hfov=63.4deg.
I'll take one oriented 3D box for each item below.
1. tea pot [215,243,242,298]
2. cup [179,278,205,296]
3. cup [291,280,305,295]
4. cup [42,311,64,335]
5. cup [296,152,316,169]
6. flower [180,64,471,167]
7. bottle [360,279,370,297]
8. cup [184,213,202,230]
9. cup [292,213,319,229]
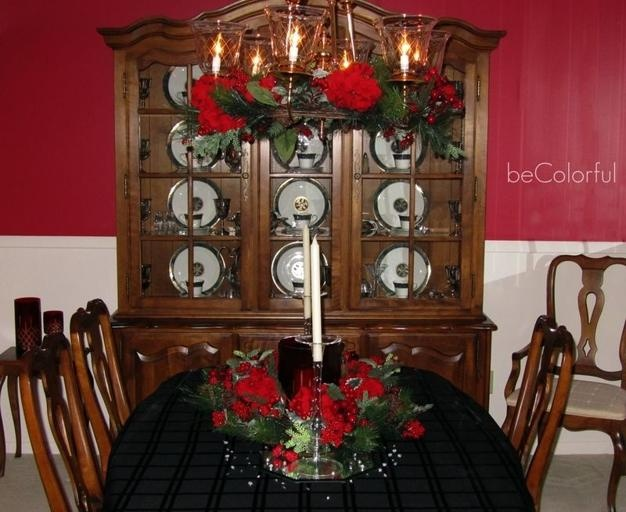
[{"bbox_3d":[-0.431,0.081,2.667,0.168,0.230,0.076,-9,2,22],"label":"tea pot"},{"bbox_3d":[-0.632,0.162,2.641,0.100,0.066,0.080,0,0,27],"label":"cup"},{"bbox_3d":[-0.085,0.165,2.669,0.079,0.075,0.076,-1,-4,0],"label":"cup"},{"bbox_3d":[-1.337,0.329,2.613,0.084,0.097,0.179,-2,6,-29],"label":"cup"},{"bbox_3d":[-0.033,-0.494,2.636,0.087,0.063,0.085,0,8,0],"label":"cup"},{"bbox_3d":[0.004,-0.355,1.211,0.687,0.240,0.325,2,5,17],"label":"flower"},{"bbox_3d":[0.273,0.169,2.657,0.053,0.074,0.066,2,-13,-17],"label":"bottle"},{"bbox_3d":[-0.612,-0.178,2.595,0.080,0.074,0.088,-1,-10,-4],"label":"cup"},{"bbox_3d":[-0.045,-0.191,2.649,0.138,0.073,0.094,3,-1,-13],"label":"cup"}]
